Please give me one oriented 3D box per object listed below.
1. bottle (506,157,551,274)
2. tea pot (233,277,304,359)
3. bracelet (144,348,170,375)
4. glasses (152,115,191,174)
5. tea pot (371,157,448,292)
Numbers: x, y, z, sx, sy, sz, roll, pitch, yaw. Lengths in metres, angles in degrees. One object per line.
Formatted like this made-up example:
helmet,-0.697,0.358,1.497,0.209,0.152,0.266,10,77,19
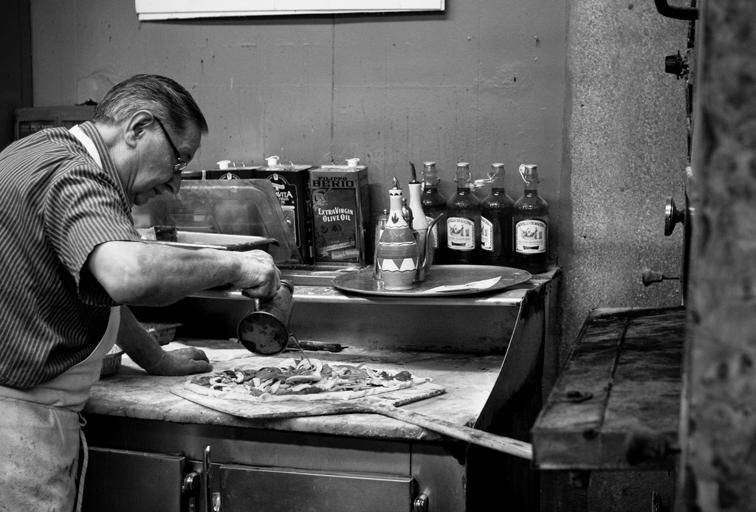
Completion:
bottle,0.557,-0.133,2.803,0.141,0.395,0.098,-1,11,9
tea pot,-0.300,0.179,2.150,0.131,0.218,0.204,0,15,3
bracelet,-0.715,0.342,2.470,0.075,0.083,0.084,1,-2,28
glasses,-0.542,-0.301,2.001,0.033,0.112,0.107,-16,-6,3
tea pot,0.078,-0.086,2.643,0.205,0.342,0.420,0,12,18
